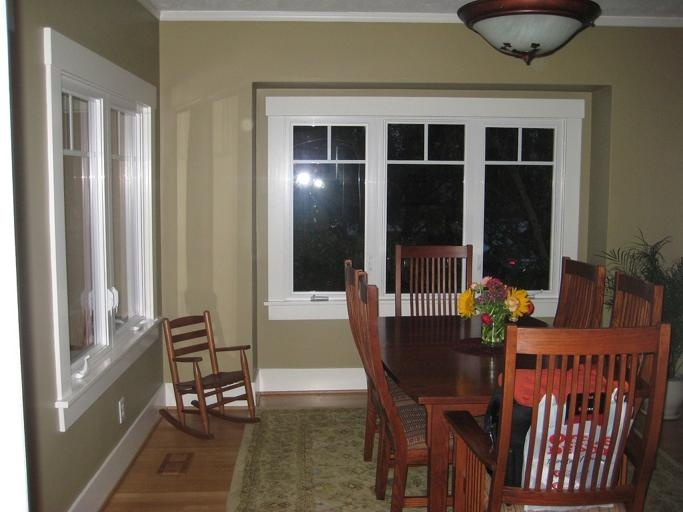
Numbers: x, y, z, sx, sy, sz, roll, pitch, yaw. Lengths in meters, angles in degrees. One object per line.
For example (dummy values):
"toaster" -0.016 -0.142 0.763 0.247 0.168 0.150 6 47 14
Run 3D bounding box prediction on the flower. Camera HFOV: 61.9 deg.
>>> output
"flower" 0.842 0.268 3.237 0.364 0.383 0.369 1 3 -9

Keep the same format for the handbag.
"handbag" 0.709 0.644 2.304 0.559 0.595 0.398 0 13 -1

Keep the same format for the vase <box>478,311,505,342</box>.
"vase" 0.812 0.386 3.159 0.145 0.182 0.152 0 -1 1

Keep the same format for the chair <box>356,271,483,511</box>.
"chair" 0.403 0.732 2.988 0.568 0.830 1.076 -2 13 -3

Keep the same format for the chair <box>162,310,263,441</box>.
"chair" -0.939 0.809 3.962 0.549 0.792 0.489 4 6 42
